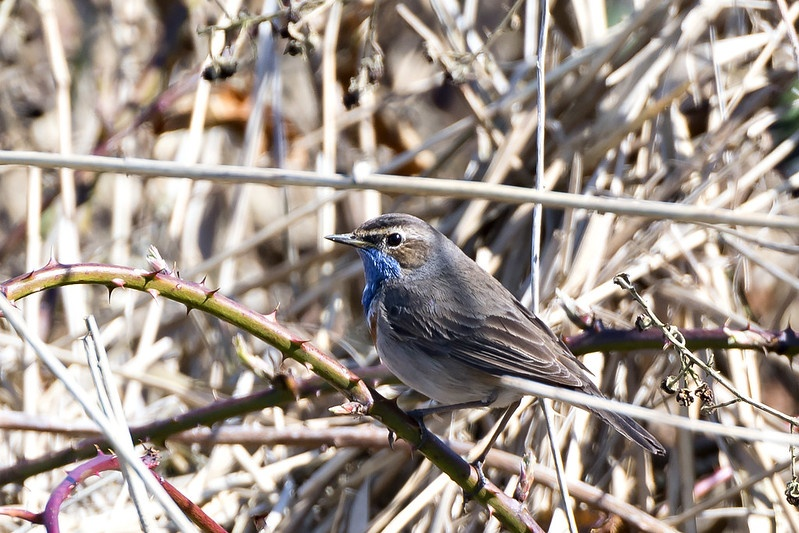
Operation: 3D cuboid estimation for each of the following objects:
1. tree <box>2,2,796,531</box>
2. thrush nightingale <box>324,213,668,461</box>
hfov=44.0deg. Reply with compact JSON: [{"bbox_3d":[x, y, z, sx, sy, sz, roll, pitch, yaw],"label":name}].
[{"bbox_3d":[-0.013,0.265,6.661,4.566,4.136,0.963,1,-54,0],"label":"tree"},{"bbox_3d":[0.797,0.377,6.996,1.654,1.626,2.109,-1,1,-42],"label":"thrush nightingale"}]
